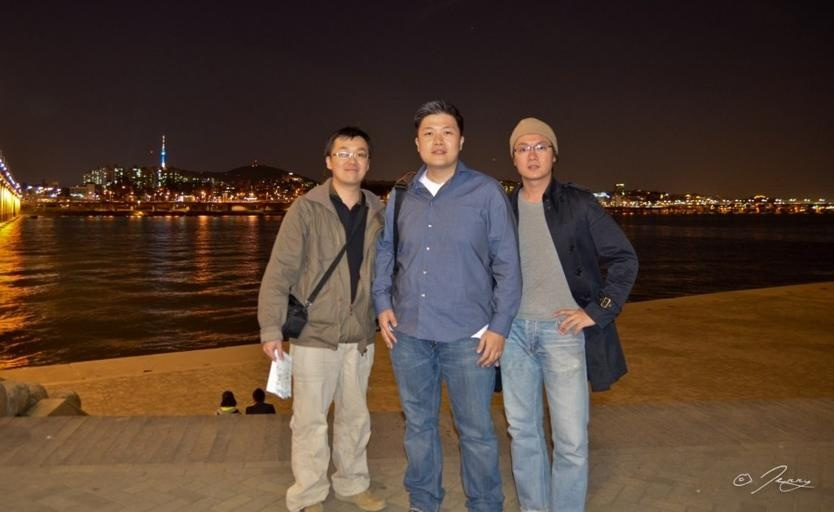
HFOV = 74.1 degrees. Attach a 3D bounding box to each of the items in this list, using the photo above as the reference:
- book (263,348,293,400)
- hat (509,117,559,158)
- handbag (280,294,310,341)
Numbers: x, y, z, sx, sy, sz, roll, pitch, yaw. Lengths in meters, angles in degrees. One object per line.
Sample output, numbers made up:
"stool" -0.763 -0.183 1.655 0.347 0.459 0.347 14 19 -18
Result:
"book" -1.369 1.166 5.442 0.324 0.428 0.130 10 -18 -34
"hat" 1.159 -1.244 5.449 0.380 0.239 0.354 3 13 36
"handbag" -1.180 0.602 5.585 0.265 0.425 0.355 -20 -4 -2
